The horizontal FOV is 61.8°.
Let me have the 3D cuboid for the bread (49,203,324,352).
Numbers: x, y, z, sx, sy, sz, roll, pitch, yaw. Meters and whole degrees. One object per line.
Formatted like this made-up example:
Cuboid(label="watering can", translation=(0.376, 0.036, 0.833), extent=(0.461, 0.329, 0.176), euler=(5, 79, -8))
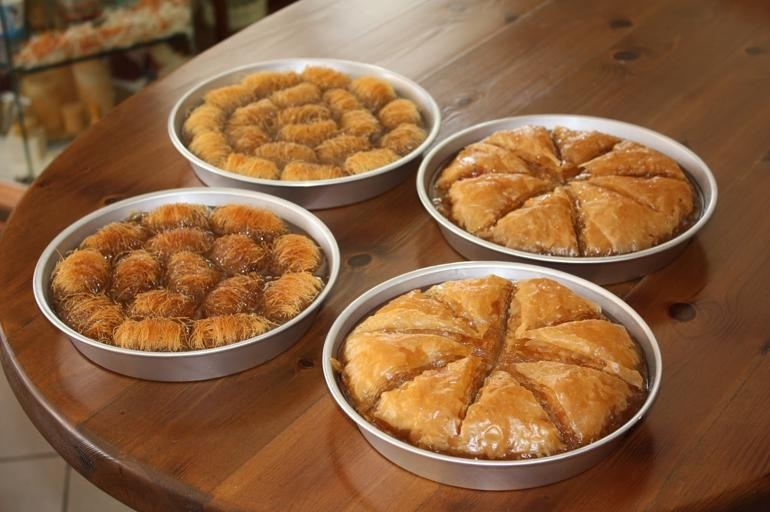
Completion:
Cuboid(label="bread", translation=(-0.375, 0.033, 1.261), extent=(0.514, 0.088, 0.377), euler=(13, 58, 9))
